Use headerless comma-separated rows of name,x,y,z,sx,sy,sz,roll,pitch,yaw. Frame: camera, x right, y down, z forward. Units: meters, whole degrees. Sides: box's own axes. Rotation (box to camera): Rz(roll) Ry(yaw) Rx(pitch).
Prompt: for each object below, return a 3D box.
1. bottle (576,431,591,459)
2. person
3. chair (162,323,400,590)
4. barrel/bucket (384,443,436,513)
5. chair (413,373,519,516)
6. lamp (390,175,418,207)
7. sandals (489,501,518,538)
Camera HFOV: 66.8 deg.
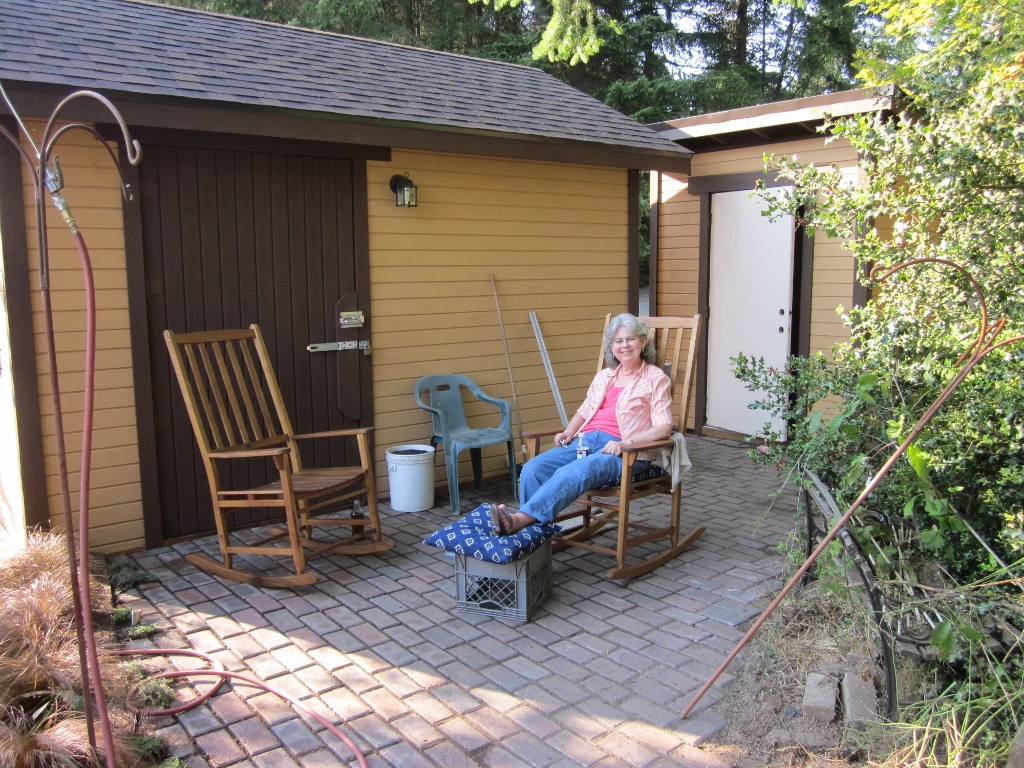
bottle,0.471,0.420,5.123,0.129,0.118,0.326,-4,18,6
person,0.196,0.293,5.369,1.541,1.582,0.951,0,1,-32
chair,-1.504,0.447,5.011,1.179,1.574,0.913,2,7,19
barrel/bucket,-0.745,0.741,6.081,0.459,0.473,0.455,-1,4,0
chair,-0.381,0.449,6.178,0.738,0.923,0.665,-5,11,-28
lamp,-0.837,-1.490,6.049,0.208,0.258,0.093,-9,16,-33
sandals,-0.057,0.819,4.492,0.110,0.246,0.085,-9,36,-11
